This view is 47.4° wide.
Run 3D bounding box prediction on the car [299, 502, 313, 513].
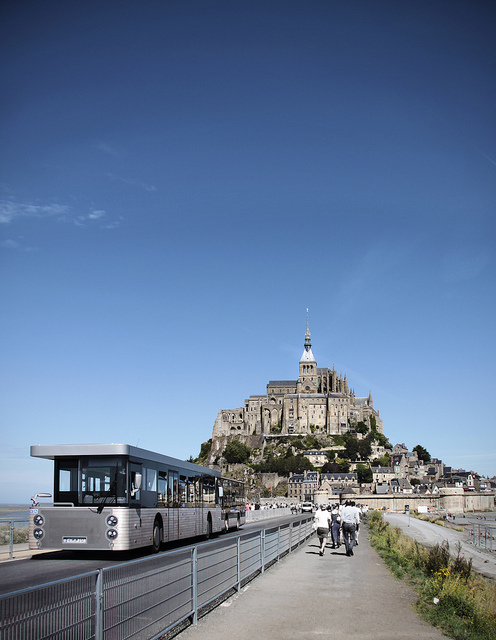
[{"bbox_3d":[8.447,26.802,81.267,1.097,1.296,2.332,-1,-22,2],"label":"car"}]
